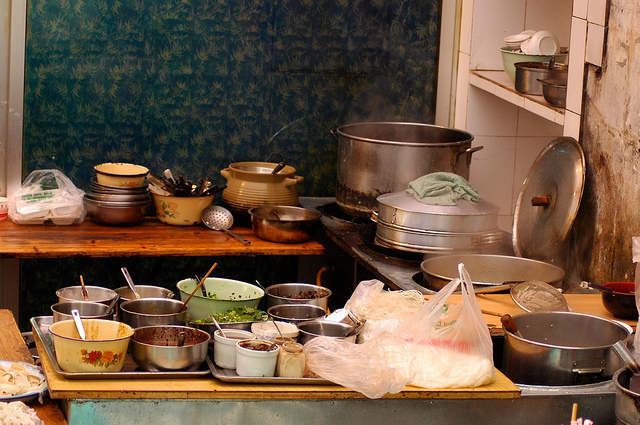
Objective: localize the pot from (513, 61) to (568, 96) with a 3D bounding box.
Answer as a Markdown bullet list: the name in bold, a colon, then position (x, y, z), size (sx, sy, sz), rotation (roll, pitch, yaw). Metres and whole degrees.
- **pot**: position (1.231, -0.769, 3.343), size (0.231, 0.156, 0.219), rotation (1, 11, 0)

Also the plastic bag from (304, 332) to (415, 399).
- **plastic bag**: position (0.136, 0.501, 2.022), size (0.275, 0.138, 0.217), rotation (8, 22, 12)

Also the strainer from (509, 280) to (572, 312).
- **strainer**: position (0.950, 0.371, 2.578), size (0.232, 0.047, 0.265), rotation (0, 19, 0)

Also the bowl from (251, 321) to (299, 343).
- **bowl**: position (-0.166, 0.435, 2.175), size (0.178, 0.053, 0.123), rotation (2, 15, 1)

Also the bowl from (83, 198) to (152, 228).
- **bowl**: position (-1.412, -0.026, 4.063), size (0.485, 0.194, 0.497), rotation (4, 4, 0)

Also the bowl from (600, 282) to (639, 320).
- **bowl**: position (1.282, 0.376, 2.542), size (0.144, 0.102, 0.150), rotation (0, 7, 0)

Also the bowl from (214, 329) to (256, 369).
- **bowl**: position (-0.254, 0.479, 2.083), size (0.125, 0.108, 0.139), rotation (-2, 3, 14)

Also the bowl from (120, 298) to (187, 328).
- **bowl**: position (-0.633, 0.374, 2.231), size (0.140, 0.052, 0.141), rotation (2, 7, 0)

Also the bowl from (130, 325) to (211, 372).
- **bowl**: position (-0.511, 0.461, 2.040), size (0.177, 0.070, 0.170), rotation (2, 8, 0)

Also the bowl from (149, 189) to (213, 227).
- **bowl**: position (-0.933, -0.072, 4.043), size (0.281, 0.141, 0.289), rotation (3, 6, 0)

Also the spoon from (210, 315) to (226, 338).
- **spoon**: position (-0.377, 0.420, 2.183), size (0.012, 0.095, 0.013), rotation (-28, -4, 20)

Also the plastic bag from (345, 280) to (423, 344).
- **plastic bag**: position (0.245, 0.377, 2.456), size (0.234, 0.139, 0.302), rotation (-14, 17, -1)

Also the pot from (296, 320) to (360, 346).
- **pot**: position (-0.032, 0.454, 2.302), size (0.240, 0.093, 0.235), rotation (2, -11, 0)

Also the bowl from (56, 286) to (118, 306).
- **bowl**: position (-0.962, 0.338, 2.428), size (0.131, 0.052, 0.133), rotation (2, 6, 0)

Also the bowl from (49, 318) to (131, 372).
- **bowl**: position (-0.789, 0.478, 2.044), size (0.260, 0.135, 0.281), rotation (5, -3, 0)

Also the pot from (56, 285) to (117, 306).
- **pot**: position (-0.960, 0.339, 2.428), size (0.134, 0.053, 0.136), rotation (2, 6, 0)

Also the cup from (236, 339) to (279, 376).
- **cup**: position (-0.211, 0.487, 1.984), size (0.116, 0.077, 0.120), rotation (3, 9, -1)

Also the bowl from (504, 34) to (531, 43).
- **bowl**: position (1.180, -1.046, 3.555), size (0.144, 0.051, 0.081), rotation (7, 15, 17)

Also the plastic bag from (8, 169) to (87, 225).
- **plastic bag**: position (-1.808, -0.100, 3.927), size (0.491, 0.320, 0.335), rotation (-4, 16, -21)

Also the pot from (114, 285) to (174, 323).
- **pot**: position (-0.712, 0.402, 2.583), size (0.256, 0.190, 0.231), rotation (-4, -9, 12)

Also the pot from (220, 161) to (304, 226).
- **pot**: position (-0.430, -0.120, 4.192), size (0.510, 0.396, 0.510), rotation (5, 9, -1)

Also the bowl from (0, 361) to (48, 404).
- **bowl**: position (-1.037, 0.594, 2.094), size (0.142, 0.030, 0.137), rotation (12, 22, -5)

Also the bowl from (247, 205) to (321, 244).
- **bowl**: position (-0.235, 0.057, 3.953), size (0.478, 0.200, 0.499), rotation (1, 15, 0)

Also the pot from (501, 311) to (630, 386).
- **pot**: position (0.894, 0.511, 2.193), size (0.291, 0.119, 0.312), rotation (-1, 16, 0)

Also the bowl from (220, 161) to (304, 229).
- **bowl**: position (-0.396, -0.149, 4.059), size (0.516, 0.356, 0.461), rotation (6, 4, 32)

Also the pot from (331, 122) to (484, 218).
- **pot**: position (0.565, -0.315, 3.782), size (0.666, 0.455, 0.888), rotation (-4, 8, -42)
